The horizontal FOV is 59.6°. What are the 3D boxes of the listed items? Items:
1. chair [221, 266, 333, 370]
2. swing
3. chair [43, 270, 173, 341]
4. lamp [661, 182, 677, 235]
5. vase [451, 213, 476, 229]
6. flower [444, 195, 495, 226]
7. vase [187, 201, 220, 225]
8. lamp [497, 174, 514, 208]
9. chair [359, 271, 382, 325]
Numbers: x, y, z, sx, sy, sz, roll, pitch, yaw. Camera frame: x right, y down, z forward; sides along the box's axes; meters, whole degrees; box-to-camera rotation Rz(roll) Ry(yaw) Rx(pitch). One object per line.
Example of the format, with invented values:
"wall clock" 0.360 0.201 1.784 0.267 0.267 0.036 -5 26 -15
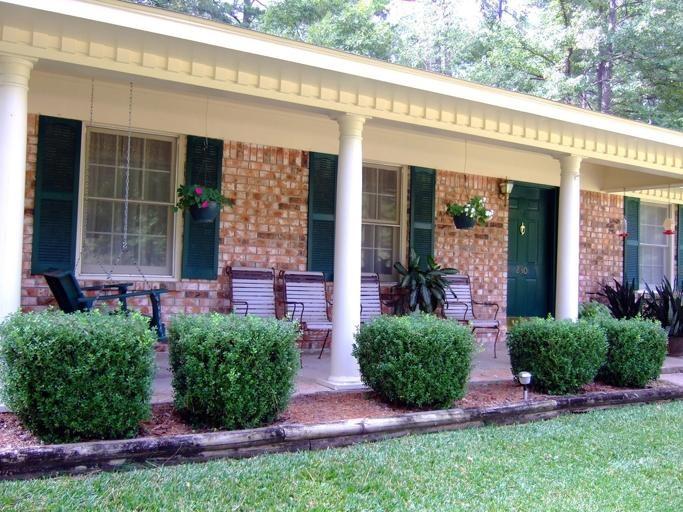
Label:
"chair" -0.854 1.069 8.019 1.932 1.633 1.000 4 -8 -29
"swing" -2.557 -0.606 6.541 1.155 2.956 1.285 1 0 36
"chair" -2.616 0.525 6.505 0.838 0.839 1.280 2 4 39
"lamp" 6.470 -0.863 11.701 0.249 0.996 1.204 9 10 28
"vase" 1.871 -0.522 9.184 0.243 0.205 0.258 1 -9 -4
"flower" 1.946 -0.656 9.199 0.532 0.410 0.558 2 -5 -23
"vase" -1.665 -0.518 7.227 0.251 0.181 0.267 0 -1 -1
"lamp" 2.738 -1.078 9.995 0.155 0.485 0.323 12 12 43
"chair" 0.337 0.527 8.854 0.490 0.286 0.856 -1 22 0
